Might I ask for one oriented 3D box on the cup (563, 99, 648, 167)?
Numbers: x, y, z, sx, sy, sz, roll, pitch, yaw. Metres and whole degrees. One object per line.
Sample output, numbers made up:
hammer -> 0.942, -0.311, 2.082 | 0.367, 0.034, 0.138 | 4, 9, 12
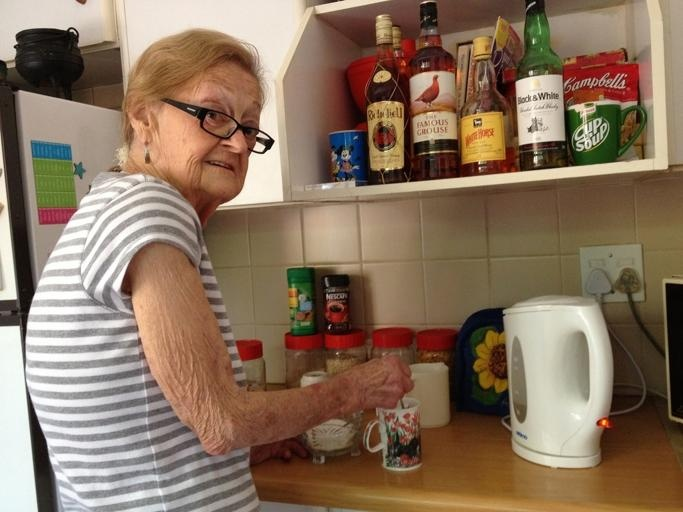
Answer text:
cup -> 0.579, -0.266, 1.289 | 0.106, 0.133, 0.166 | -9, 11, -32

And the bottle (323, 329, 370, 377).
bottle -> 0.013, 0.293, 1.776 | 0.139, 0.145, 0.135 | 1, 7, 35

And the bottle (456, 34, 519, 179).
bottle -> 0.325, -0.341, 1.358 | 0.115, 0.301, 0.125 | -3, 10, 1

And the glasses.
glasses -> -0.274, -0.274, 1.240 | 0.207, 0.058, 0.201 | 23, 7, 39

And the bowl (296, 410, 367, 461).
bowl -> -0.026, 0.446, 1.449 | 0.126, 0.087, 0.137 | 0, 4, 0

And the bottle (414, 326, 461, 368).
bottle -> 0.267, 0.253, 1.666 | 0.098, 0.114, 0.103 | 0, -1, 2

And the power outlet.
power outlet -> 0.734, 0.052, 1.592 | 0.158, 0.176, 0.019 | 0, -1, 6

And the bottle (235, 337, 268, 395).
bottle -> -0.259, 0.336, 1.774 | 0.088, 0.150, 0.088 | -10, 9, 1

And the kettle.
kettle -> 0.477, 0.274, 1.340 | 0.226, 0.357, 0.140 | 0, 11, 21

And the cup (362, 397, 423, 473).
cup -> 0.108, 0.409, 1.347 | 0.146, 0.142, 0.088 | -5, 5, -28

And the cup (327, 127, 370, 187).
cup -> 0.019, -0.238, 1.479 | 0.108, 0.136, 0.121 | -2, -5, -17

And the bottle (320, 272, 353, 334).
bottle -> -0.017, 0.143, 1.804 | 0.096, 0.178, 0.097 | -2, -8, 0

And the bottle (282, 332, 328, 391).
bottle -> -0.092, 0.315, 1.781 | 0.133, 0.166, 0.141 | 0, -2, 0
